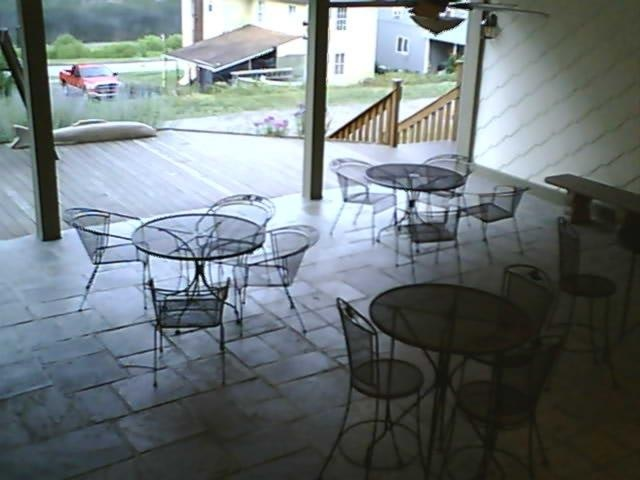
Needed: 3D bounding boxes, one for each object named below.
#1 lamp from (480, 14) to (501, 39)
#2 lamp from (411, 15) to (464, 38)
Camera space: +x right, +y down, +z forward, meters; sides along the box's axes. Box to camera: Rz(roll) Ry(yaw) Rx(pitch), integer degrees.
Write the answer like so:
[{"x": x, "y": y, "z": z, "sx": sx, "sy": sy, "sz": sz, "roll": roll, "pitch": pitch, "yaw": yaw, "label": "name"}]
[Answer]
[{"x": 2.847, "y": -3.636, "z": 9.378, "sx": 0.387, "sy": 0.372, "sz": 0.314, "roll": -19, "pitch": 37, "yaw": -23, "label": "lamp"}, {"x": 1.219, "y": -2.268, "z": 5.813, "sx": 0.379, "sy": 0.200, "sz": 0.702, "roll": 15, "pitch": 28, "yaw": 27, "label": "lamp"}]
